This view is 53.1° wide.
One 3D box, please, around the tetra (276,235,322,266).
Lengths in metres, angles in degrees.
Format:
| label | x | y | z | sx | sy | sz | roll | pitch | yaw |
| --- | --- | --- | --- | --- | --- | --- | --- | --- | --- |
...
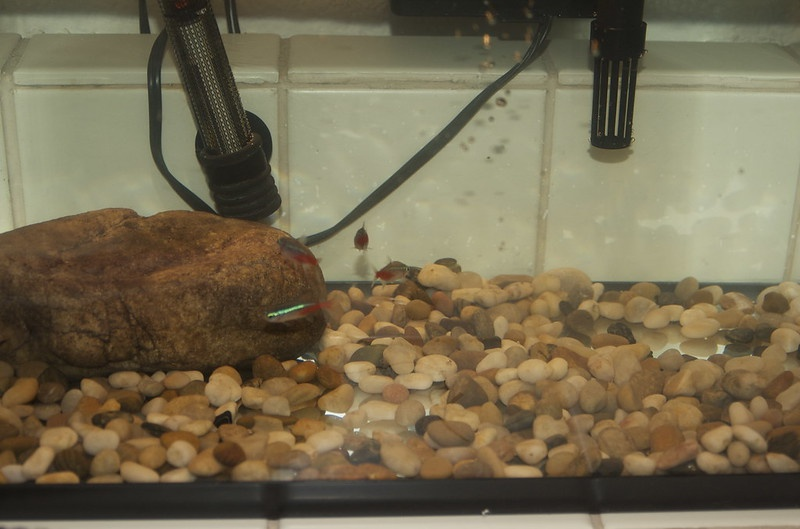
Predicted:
| label | x | y | z | sx | sy | sz | roll | pitch | yaw |
| --- | --- | --- | --- | --- | --- | --- | --- | --- | --- |
| tetra | -0.257 | -0.025 | 2.003 | 0.092 | 0.097 | 0.096 | -3 | 29 | -6 |

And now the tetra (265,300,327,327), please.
| label | x | y | z | sx | sy | sz | roll | pitch | yaw |
| --- | --- | --- | --- | --- | --- | --- | --- | --- | --- |
| tetra | -0.264 | 0.120 | 1.973 | 0.141 | 0.054 | 0.019 | -9 | 63 | -28 |

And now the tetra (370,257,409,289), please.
| label | x | y | z | sx | sy | sz | roll | pitch | yaw |
| --- | --- | --- | --- | --- | --- | --- | --- | --- | --- |
| tetra | -0.020 | 0.026 | 2.277 | 0.139 | 0.088 | 0.043 | -15 | 2 | -2 |
